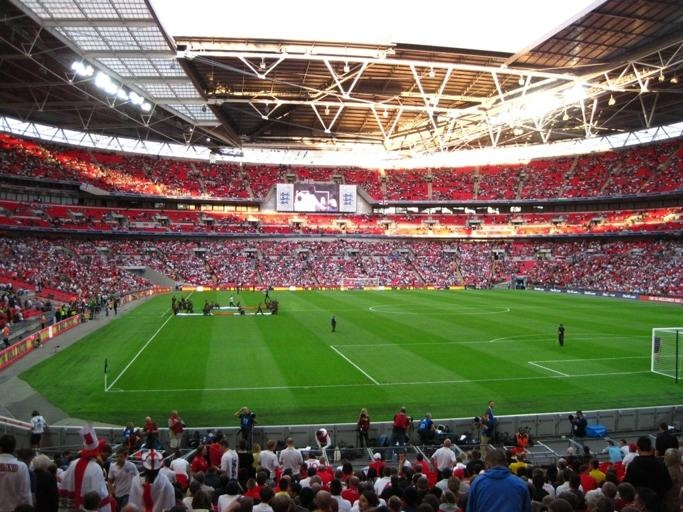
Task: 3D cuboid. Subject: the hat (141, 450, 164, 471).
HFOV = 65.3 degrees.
[{"bbox_3d":[-4.516,4.794,12.690,0.375,0.472,0.811,0,-5,-20],"label":"hat"}]
